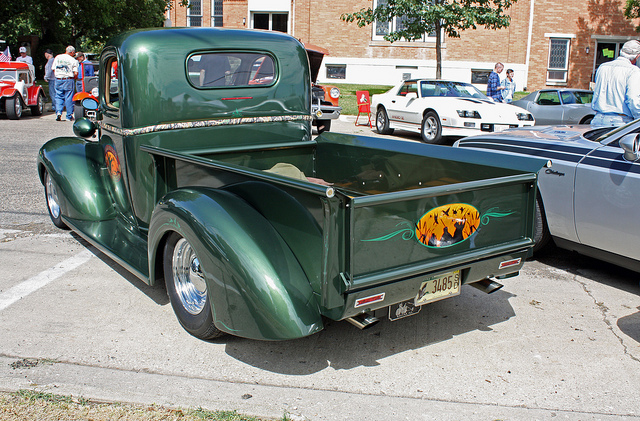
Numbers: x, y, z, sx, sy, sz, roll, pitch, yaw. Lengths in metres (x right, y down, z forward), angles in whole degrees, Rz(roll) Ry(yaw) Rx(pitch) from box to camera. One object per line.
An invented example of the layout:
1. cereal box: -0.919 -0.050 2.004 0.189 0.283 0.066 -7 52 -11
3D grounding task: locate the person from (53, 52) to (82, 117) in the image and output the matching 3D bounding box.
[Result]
1. person: -8.396 -4.101 16.624 0.910 2.210 0.571 -1 36 -29

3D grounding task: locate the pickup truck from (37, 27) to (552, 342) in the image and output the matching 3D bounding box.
1. pickup truck: -0.887 -0.446 5.754 3.024 2.256 5.310 -11 26 -43

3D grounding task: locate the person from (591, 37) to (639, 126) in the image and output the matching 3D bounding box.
1. person: 4.454 -1.896 7.633 0.595 1.198 0.923 8 21 25

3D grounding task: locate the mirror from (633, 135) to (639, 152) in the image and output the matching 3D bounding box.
1. mirror: 3.209 -0.682 5.183 0.046 0.153 0.116 10 23 31
